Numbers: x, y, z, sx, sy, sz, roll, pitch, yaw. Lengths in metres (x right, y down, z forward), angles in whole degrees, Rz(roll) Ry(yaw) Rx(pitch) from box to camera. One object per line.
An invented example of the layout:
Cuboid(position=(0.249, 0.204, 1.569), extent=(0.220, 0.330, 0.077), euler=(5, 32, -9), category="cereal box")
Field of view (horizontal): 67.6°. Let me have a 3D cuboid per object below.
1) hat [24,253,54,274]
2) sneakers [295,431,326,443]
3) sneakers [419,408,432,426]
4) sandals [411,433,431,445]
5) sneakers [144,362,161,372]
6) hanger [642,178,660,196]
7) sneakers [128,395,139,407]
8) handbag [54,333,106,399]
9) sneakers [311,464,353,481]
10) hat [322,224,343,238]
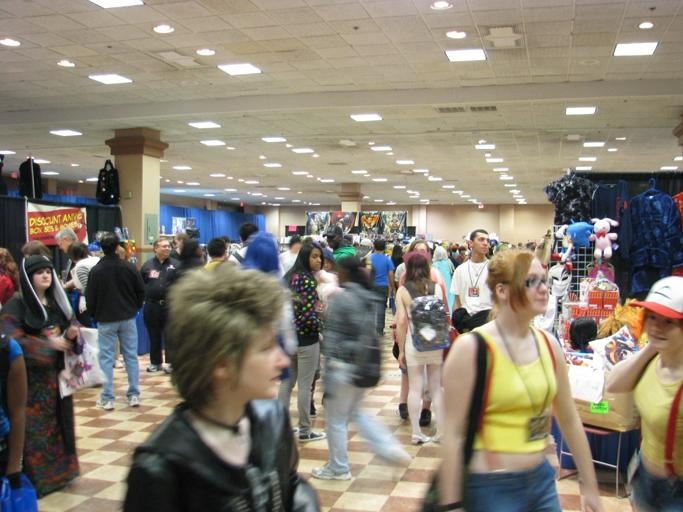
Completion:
Cuboid(position=(-2.083, 0.057, 3.472), extent=(0.167, 0.111, 0.171), euler=(-2, 4, -30), category="hat")
Cuboid(position=(-0.300, 1.685, 4.734), extent=(0.280, 0.100, 0.097), euler=(-1, 3, -14), category="sneakers")
Cuboid(position=(0.830, 1.625, 5.059), extent=(0.079, 0.080, 0.202), euler=(1, 2, 14), category="sneakers")
Cuboid(position=(0.716, 1.653, 4.612), extent=(0.190, 0.069, 0.090), euler=(1, 0, -36), category="sandals")
Cuboid(position=(-2.804, 1.682, 7.530), extent=(0.089, 0.159, 0.253), euler=(-10, -20, 33), category="sneakers")
Cuboid(position=(3.735, -0.811, 6.126), extent=(0.145, 0.191, 0.406), euler=(2, 4, 23), category="hanger")
Cuboid(position=(-2.399, 1.675, 5.846), extent=(0.082, 0.080, 0.198), euler=(0, 2, -9), category="sneakers")
Cuboid(position=(-1.914, 0.786, 3.715), extent=(0.298, 0.525, 0.209), euler=(-2, 4, -28), category="handbag")
Cuboid(position=(-0.072, 1.688, 3.979), extent=(0.319, 0.123, 0.115), euler=(6, -2, 5), category="sneakers")
Cuboid(position=(-0.216, -0.623, 13.031), extent=(0.584, 0.310, 0.723), euler=(2, -2, 5), category="hat")
